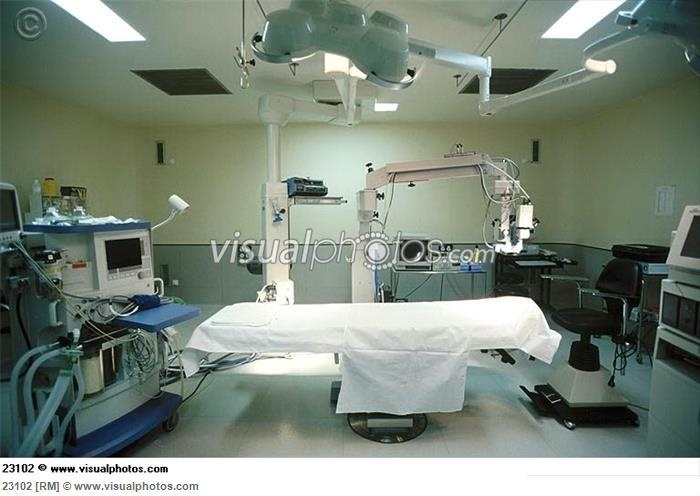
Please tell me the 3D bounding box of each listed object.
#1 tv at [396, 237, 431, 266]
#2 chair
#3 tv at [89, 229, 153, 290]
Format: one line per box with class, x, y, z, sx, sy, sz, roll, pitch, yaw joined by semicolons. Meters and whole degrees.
tv;0.687;0.034;5.747;0.257;0.296;0.418;4;7;34
chair;2.147;0.826;4.955;1.019;1.458;0.925;-1;5;-16
tv;-1.939;0.126;4.568;0.093;0.559;0.505;5;8;37
